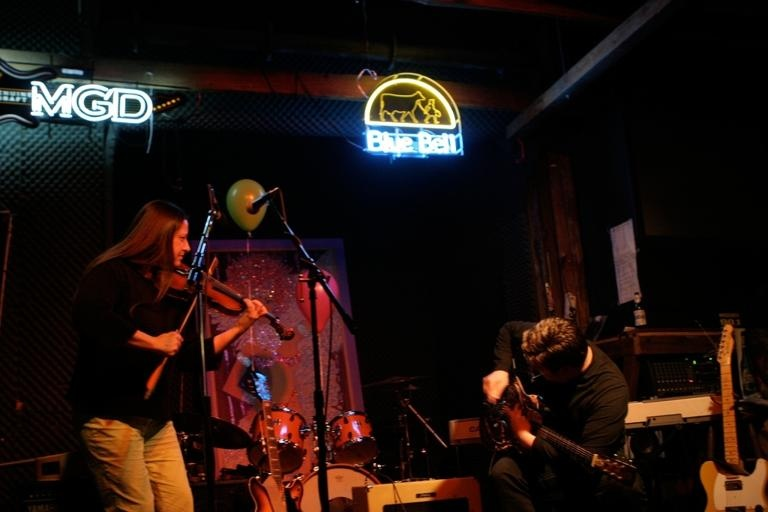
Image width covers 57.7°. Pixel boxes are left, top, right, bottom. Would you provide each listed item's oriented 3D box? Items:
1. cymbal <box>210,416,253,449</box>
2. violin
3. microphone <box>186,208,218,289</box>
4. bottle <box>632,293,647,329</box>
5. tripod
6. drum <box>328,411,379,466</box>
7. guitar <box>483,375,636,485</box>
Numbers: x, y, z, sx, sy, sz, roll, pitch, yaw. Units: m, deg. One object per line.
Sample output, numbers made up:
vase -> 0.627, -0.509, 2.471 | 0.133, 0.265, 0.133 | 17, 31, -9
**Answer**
cymbal -> -1.356, 1.481, 6.280 | 0.400, 0.113, 0.491 | 5, -17, 13
violin -> -1.387, 0.387, 6.190 | 1.274, 0.199, 0.482 | 27, 19, -13
microphone -> -1.478, -0.072, 5.612 | 0.231, 0.613, 0.254 | 2, 1, -20
bottle -> 2.714, 0.565, 7.404 | 0.136, 0.366, 0.328 | -4, -10, 20
tripod -> 0.339, 1.956, 7.527 | 0.659, 0.825, 0.547 | 1, -2, -6
drum -> -0.313, 1.851, 7.078 | 0.501, 0.455, 0.358 | 11, 35, -28
guitar -> 1.503, 1.450, 5.904 | 1.297, 0.560, 0.158 | 25, 19, 36
